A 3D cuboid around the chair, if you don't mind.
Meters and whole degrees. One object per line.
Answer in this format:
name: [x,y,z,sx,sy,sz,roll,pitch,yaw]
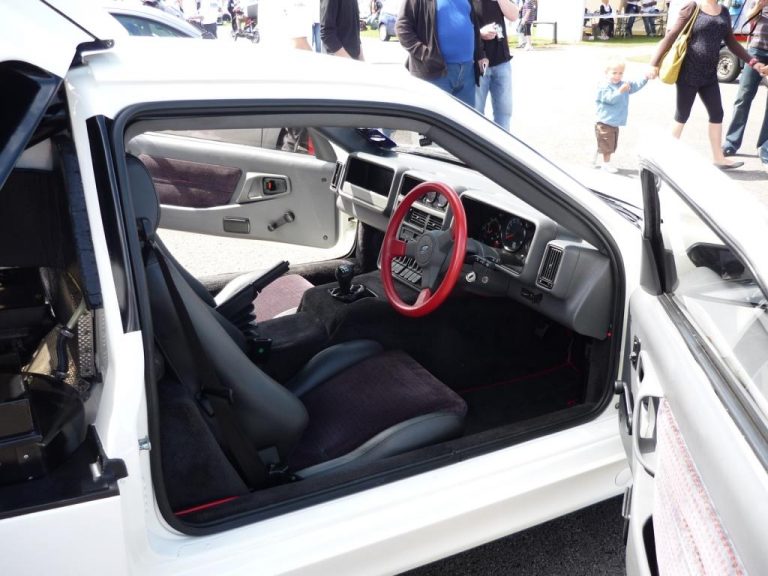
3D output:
chair: [-0.361,0.183,1.770,1.428,0.760,0.838,-1,22,-42]
